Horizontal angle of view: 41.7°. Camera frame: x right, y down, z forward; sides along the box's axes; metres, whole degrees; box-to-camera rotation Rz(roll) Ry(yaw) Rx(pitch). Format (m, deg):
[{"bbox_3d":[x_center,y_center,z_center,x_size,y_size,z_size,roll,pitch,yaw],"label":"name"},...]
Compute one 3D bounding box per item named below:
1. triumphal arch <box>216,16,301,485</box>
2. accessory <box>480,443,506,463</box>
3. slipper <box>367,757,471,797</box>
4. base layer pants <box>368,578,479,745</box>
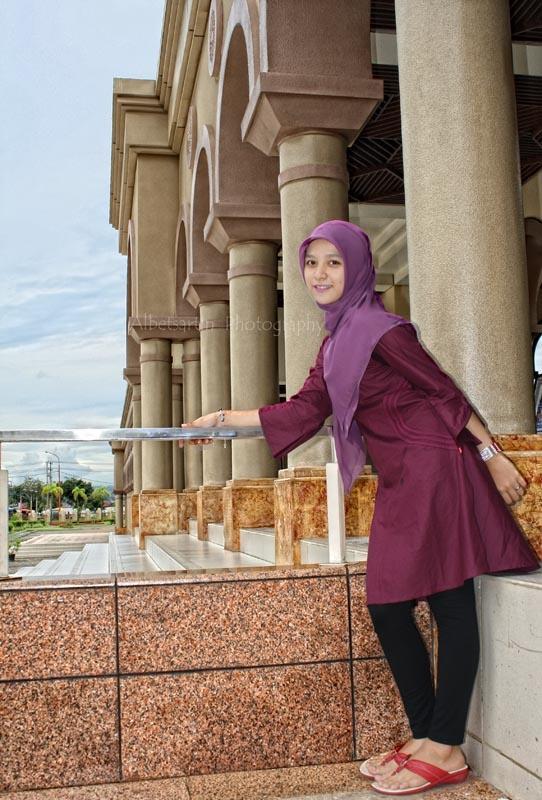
[{"bbox_3d":[-0.454,-1.831,8.728,1.011,4.648,0.989,7,20,6],"label":"triumphal arch"},{"bbox_3d":[0.687,0.163,2.214,0.066,0.047,0.066,-17,-18,-14],"label":"accessory"},{"bbox_3d":[0.480,1.145,2.208,0.253,0.088,0.125,3,-6,-3],"label":"slipper"},{"bbox_3d":[0.504,0.813,2.294,0.260,0.199,0.659,-12,31,17],"label":"base layer pants"}]
